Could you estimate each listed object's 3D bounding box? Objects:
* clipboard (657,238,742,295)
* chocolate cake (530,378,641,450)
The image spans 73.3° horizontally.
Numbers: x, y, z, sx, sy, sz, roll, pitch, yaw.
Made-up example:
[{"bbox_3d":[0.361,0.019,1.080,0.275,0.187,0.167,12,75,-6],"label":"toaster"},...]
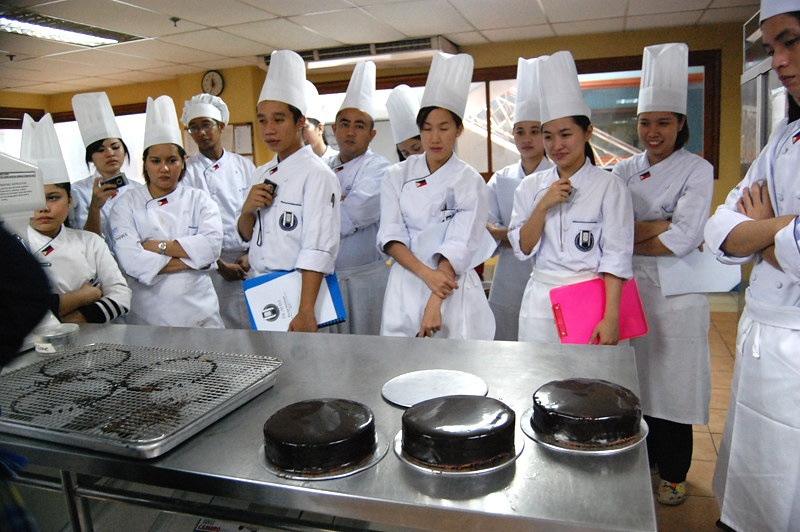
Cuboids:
[{"bbox_3d":[1.358,-0.004,2.423,0.281,0.269,0.068,3,7,15],"label":"clipboard"},{"bbox_3d":[0.419,0.330,1.226,0.155,0.052,0.160,8,15,39],"label":"chocolate cake"}]
